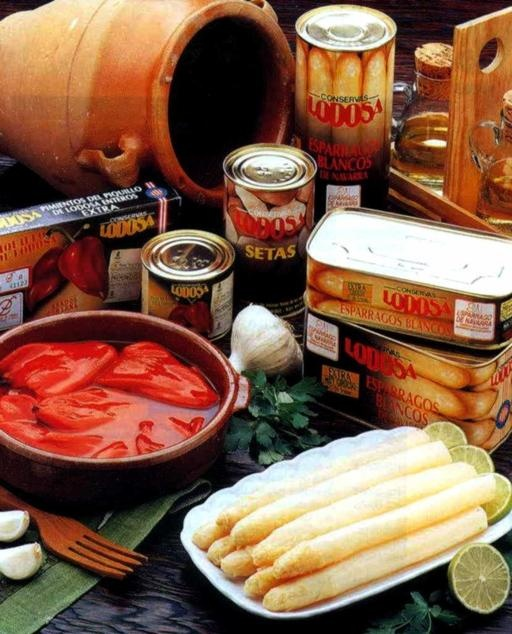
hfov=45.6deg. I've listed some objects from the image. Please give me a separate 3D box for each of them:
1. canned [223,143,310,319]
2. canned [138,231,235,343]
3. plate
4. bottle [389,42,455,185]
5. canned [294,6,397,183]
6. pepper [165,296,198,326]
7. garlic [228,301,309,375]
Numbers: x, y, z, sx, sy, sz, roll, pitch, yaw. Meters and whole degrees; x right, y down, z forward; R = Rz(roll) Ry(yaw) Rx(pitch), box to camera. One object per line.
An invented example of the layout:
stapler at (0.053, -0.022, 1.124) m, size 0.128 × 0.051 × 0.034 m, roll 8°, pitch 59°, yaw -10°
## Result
canned at (-0.004, -0.128, 0.919) m, size 0.131 × 0.240 × 0.121 m, roll -2°, pitch 38°, yaw -4°
canned at (-0.096, -0.044, 0.873) m, size 0.129 × 0.121 × 0.121 m, roll -12°, pitch 43°, yaw -18°
plate at (0.086, 0.207, 0.556) m, size 0.228 × 0.024 × 0.134 m, roll -18°, pitch 28°, yaw -31°
bottle at (0.296, -0.363, 1.134) m, size 0.106 × 0.265 × 0.099 m, roll -1°, pitch 36°, yaw 0°
canned at (0.126, -0.342, 0.980) m, size 0.150 × 0.279 × 0.120 m, roll -11°, pitch 34°, yaw -17°
pepper at (-0.098, -0.009, 0.822) m, size 0.036 × 0.032 × 0.013 m, roll 10°, pitch 33°, yaw 3°
garlic at (0.005, 0.036, 0.896) m, size 0.105 × 0.087 × 0.094 m, roll -23°, pitch 34°, yaw -37°
